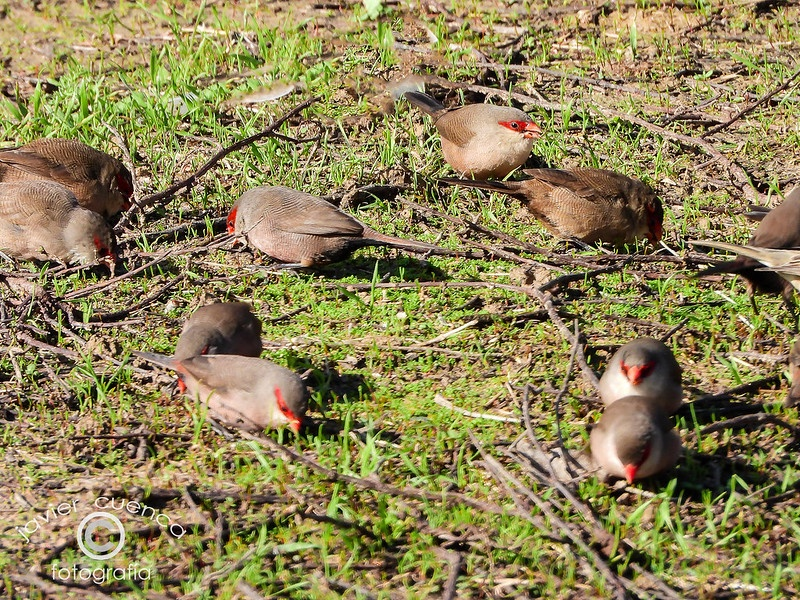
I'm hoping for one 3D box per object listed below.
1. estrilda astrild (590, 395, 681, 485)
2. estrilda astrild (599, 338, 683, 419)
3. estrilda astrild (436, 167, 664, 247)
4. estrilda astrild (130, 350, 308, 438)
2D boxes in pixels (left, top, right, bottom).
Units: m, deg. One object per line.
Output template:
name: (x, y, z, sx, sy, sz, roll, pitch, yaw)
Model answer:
estrilda astrild: (1.110, 0.622, 3.851, 0.444, 0.363, 0.507, -1, 40, 15)
estrilda astrild: (1.219, 0.391, 4.067, 0.334, 0.313, 0.411, 1, 40, 20)
estrilda astrild: (1.241, -0.646, 5.707, 1.150, 0.531, 0.431, 0, 33, 12)
estrilda astrild: (-0.896, 0.404, 4.140, 0.867, 0.324, 0.294, 33, 39, 18)
